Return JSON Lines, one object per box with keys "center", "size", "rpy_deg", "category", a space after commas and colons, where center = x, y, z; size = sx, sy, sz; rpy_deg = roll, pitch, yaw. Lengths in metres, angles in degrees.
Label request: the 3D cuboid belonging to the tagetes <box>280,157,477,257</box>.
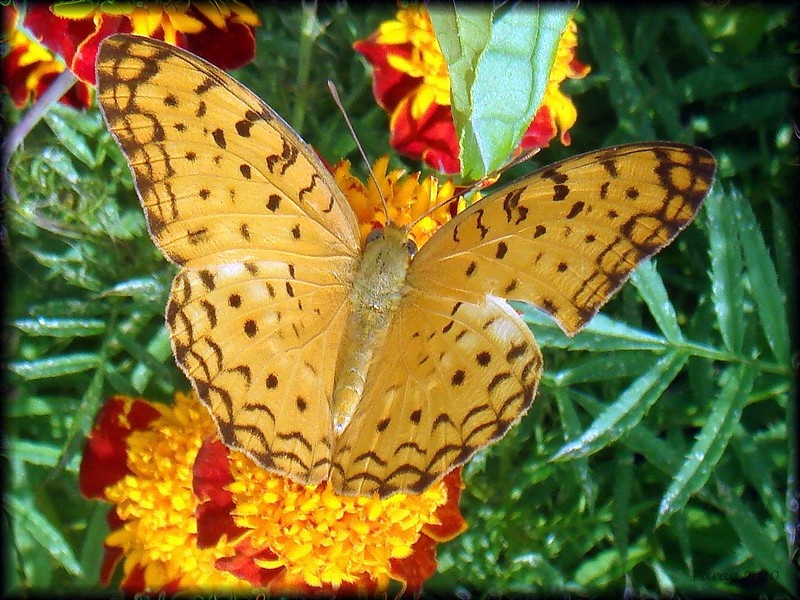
{"center": [-0.031, -0.143, 1.782], "size": [0.175, 0.284, 0.122], "rpy_deg": [45, 107, 24], "category": "tagetes"}
